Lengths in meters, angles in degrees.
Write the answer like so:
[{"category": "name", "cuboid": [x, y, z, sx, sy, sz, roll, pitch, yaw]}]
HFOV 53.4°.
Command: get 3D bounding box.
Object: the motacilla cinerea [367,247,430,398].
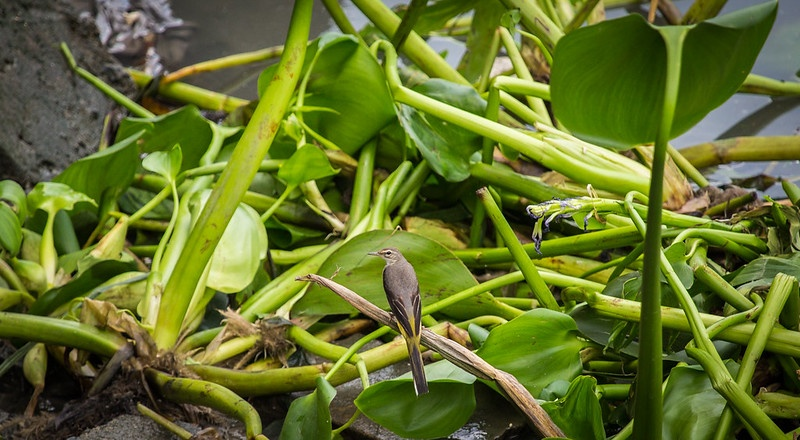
[{"category": "motacilla cinerea", "cuboid": [0.007, 0.119, 0.935, 0.048, 0.050, 0.165, 7, 61, -47]}]
